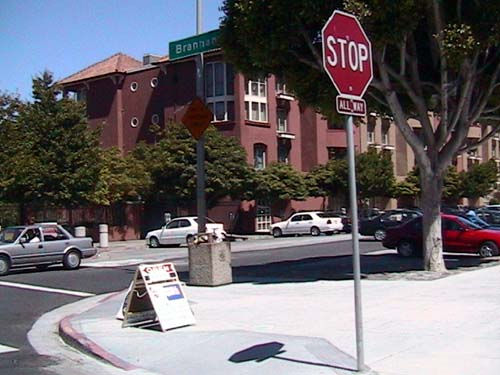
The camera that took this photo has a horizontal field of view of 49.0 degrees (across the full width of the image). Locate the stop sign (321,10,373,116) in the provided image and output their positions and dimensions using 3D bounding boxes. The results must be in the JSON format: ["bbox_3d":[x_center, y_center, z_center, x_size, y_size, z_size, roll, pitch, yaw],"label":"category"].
[{"bbox_3d":[1.461,-1.899,8.290,0.981,1.629,0.199,1,-5,-32],"label":"stop sign"}]

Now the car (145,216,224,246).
[{"bbox_3d":[-3.818,2.530,32.693,5.051,1.710,2.336,-7,-7,44],"label":"car"}]

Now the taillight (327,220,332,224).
[{"bbox_3d":[5.381,2.322,37.676,0.284,0.276,0.022,-1,-8,11],"label":"taillight"}]

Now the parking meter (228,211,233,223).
[{"bbox_3d":[-1.602,2.388,45.053,0.393,0.782,0.746,-2,-5,-5],"label":"parking meter"}]

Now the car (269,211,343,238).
[{"bbox_3d":[3.986,2.537,38.721,4.324,1.323,1.908,0,0,27],"label":"car"}]

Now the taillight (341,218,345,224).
[{"bbox_3d":[6.397,2.297,37.867,0.289,0.270,0.068,0,-15,3],"label":"taillight"}]

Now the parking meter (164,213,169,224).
[{"bbox_3d":[-5.816,2.067,37.741,0.170,0.667,0.470,5,3,33],"label":"parking meter"}]
